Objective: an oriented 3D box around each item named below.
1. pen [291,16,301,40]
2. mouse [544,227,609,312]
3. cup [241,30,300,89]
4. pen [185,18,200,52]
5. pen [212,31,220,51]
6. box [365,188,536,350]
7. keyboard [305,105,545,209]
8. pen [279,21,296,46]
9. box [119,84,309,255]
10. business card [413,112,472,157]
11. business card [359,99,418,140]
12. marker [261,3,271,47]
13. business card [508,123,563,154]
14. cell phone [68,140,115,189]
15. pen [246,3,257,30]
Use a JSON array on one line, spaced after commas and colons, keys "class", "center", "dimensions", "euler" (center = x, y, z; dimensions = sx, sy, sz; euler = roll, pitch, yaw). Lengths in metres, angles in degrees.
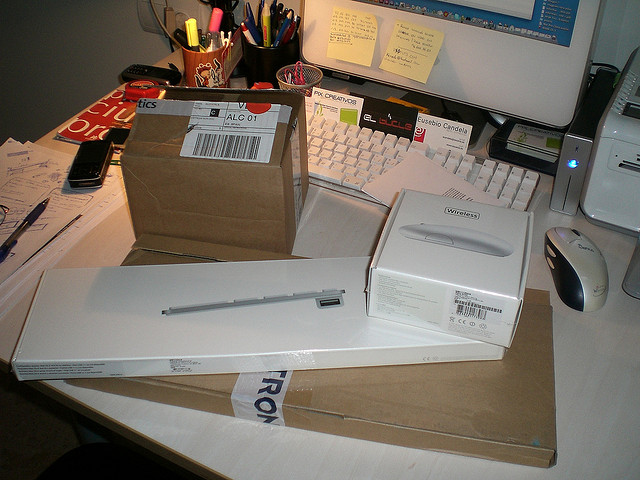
[{"class": "pen", "center": [-0.056, -0.520, 1.202], "dimensions": [0.012, 0.017, 0.071], "euler": [6, 64, 32]}, {"class": "mouse", "center": [0.449, 0.030, 0.852], "dimensions": [0.086, 0.063, 0.170], "euler": [-13, 46, 3]}, {"class": "cup", "center": [-0.121, -0.451, 1.281], "dimensions": [0.141, 0.137, 0.205], "euler": [-24, 42, -30]}, {"class": "pen", "center": [-0.303, -0.488, 1.147], "dimensions": [0.025, 0.087, 0.021], "euler": [-14, 80, -12]}, {"class": "pen", "center": [-0.244, -0.464, 1.142], "dimensions": [0.025, 0.042, 0.025], "euler": [-9, 53, -17]}, {"class": "box", "center": [0.201, 0.029, 0.770], "dimensions": [0.231, 0.209, 0.199], "euler": [7, 30, 12]}, {"class": "keyboard", "center": [0.173, -0.146, 0.990], "dimensions": [0.505, 0.074, 0.153], "euler": [19, 41, 13]}, {"class": "pen", "center": [-0.080, -0.498, 1.180], "dimensions": [0.008, 0.073, 0.010], "euler": [33, 2, -40]}, {"class": "box", "center": [-0.180, -0.135, 0.874], "dimensions": [0.296, 0.236, 0.185], "euler": [10, 39, 3]}, {"class": "business card", "center": [0.249, -0.222, 0.995], "dimensions": [0.121, 0.083, 0.030], "euler": [16, 22, 17]}, {"class": "business card", "center": [0.143, -0.254, 1.027], "dimensions": [0.121, 0.051, 0.026], "euler": [18, 40, 12]}, {"class": "marker", "center": [-0.129, -0.512, 1.161], "dimensions": [0.022, 0.088, 0.061], "euler": [0, 40, -8]}, {"class": "business card", "center": [0.468, -0.219, 1.048], "dimensions": [0.097, 0.023, 0.067], "euler": [21, 50, 14]}, {"class": "cell phone", "center": [-0.480, -0.160, 1.026], "dimensions": [0.069, 0.051, 0.114], "euler": [2, 40, -7]}, {"class": "pen", "center": [-0.172, -0.555, 1.206], "dimensions": [0.011, 0.021, 0.105], "euler": [-1, 48, -20]}]
